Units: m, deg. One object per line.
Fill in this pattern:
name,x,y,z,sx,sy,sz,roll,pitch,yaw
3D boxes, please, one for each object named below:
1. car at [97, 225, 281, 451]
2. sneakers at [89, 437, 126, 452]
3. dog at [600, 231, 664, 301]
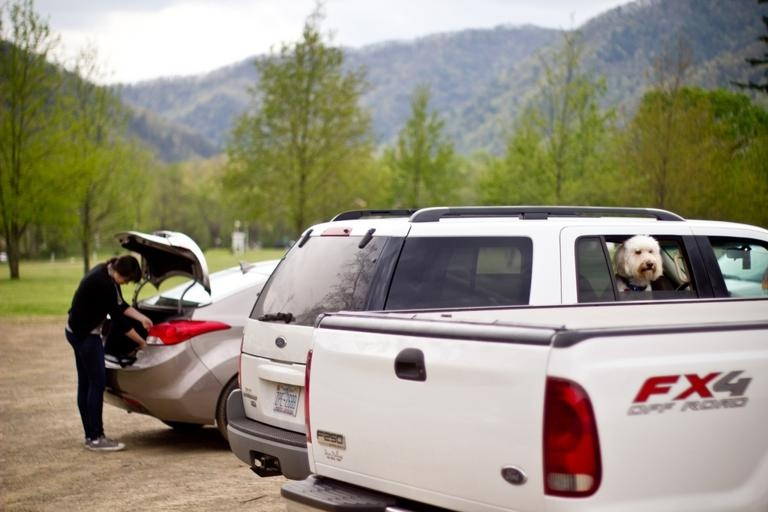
car,-2.562,0.980,9.650,3.009,1.543,1.691,-3,3,-31
sneakers,-3.419,2.311,9.573,0.460,0.186,0.173,1,2,-5
dog,2.598,0.095,7.932,0.564,0.815,0.646,0,-3,-12
